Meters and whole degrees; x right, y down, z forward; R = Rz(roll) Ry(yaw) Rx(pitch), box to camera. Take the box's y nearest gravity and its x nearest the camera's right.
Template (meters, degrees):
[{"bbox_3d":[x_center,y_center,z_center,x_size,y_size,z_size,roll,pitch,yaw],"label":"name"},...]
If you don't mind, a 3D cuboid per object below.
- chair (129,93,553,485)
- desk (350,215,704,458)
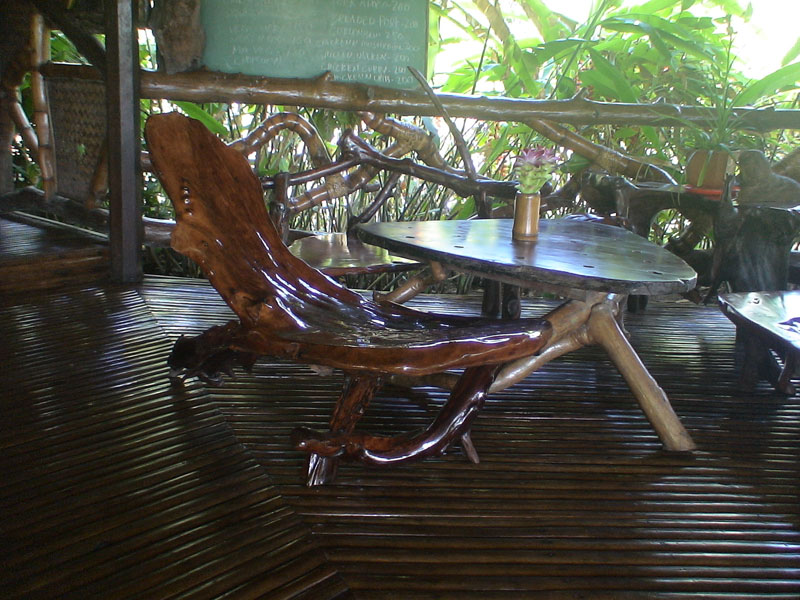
[{"bbox_3d":[-0.130,0.046,2.149,1.125,1.151,0.527,8,19,7],"label":"chair"},{"bbox_3d":[0.214,0.095,2.951,1.405,0.588,1.645,15,0,-31],"label":"desk"}]
